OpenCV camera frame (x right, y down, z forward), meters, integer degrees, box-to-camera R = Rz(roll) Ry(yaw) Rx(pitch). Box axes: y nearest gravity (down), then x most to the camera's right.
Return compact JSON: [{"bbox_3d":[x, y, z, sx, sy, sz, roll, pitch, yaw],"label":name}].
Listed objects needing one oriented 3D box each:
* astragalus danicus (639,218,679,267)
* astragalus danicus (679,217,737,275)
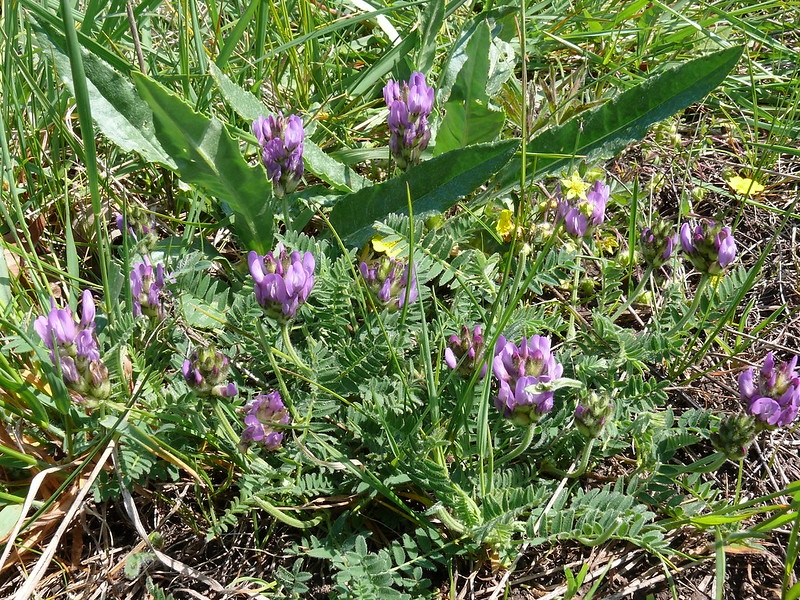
[{"bbox_3d":[0.967,-0.216,2.839,0.106,0.166,0.106,-36,63,-13],"label":"astragalus danicus"},{"bbox_3d":[1.063,-0.194,2.633,0.152,0.180,0.185,-1,54,-1],"label":"astragalus danicus"}]
